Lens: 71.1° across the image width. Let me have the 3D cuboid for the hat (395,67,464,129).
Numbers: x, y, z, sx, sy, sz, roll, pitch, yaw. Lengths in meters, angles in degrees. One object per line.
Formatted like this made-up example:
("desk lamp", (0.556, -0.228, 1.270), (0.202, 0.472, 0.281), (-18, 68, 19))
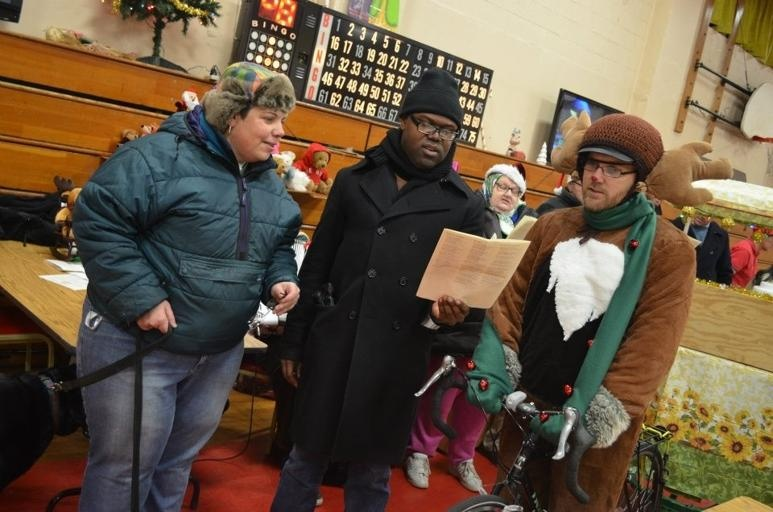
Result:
("hat", (0.236, -0.754, 2.435), (0.295, 0.182, 0.299), (9, 12, 2))

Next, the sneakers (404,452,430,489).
("sneakers", (0.208, 1.366, 3.453), (0.096, 0.098, 0.241), (5, 10, -21))

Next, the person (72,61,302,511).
("person", (-0.837, 0.156, 2.244), (0.880, 1.964, 0.354), (7, 8, -32))

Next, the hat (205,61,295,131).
("hat", (-0.568, -0.610, 2.296), (0.327, 0.248, 0.261), (19, -15, 2))

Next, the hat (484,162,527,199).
("hat", (0.869, -0.566, 3.963), (0.234, 0.109, 0.272), (44, -6, -22))

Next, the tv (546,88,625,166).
("tv", (2.713, -1.529, 7.101), (0.062, 0.969, 1.241), (-11, 31, -27))

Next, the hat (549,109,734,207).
("hat", (1.277, -0.454, 2.651), (0.714, 0.278, 0.450), (25, 25, 39))

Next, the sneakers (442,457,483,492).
("sneakers", (0.535, 1.424, 3.589), (0.133, 0.133, 0.300), (9, 3, -26))
